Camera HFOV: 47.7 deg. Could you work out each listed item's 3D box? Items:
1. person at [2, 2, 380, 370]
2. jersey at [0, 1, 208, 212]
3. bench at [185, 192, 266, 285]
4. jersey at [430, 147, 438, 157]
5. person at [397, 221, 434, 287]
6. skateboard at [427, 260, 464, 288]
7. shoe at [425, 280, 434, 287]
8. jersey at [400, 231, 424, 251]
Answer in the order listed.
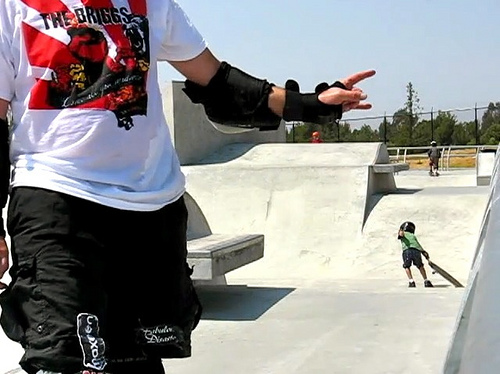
[{"bbox_3d":[-0.375,-0.011,2.091,1.044,1.308,0.404,-4,3,-36],"label":"person"},{"bbox_3d":[-0.537,-0.286,1.943,0.696,0.704,0.398,2,-8,-29],"label":"jersey"},{"bbox_3d":[-0.233,0.589,6.505,0.727,0.706,1.121,0,0,16],"label":"bench"},{"bbox_3d":[6.008,-1.158,18.456,0.230,0.327,0.351,-2,2,18],"label":"jersey"},{"bbox_3d":[2.203,0.919,7.536,0.500,0.416,1.155,-7,32,13],"label":"person"},{"bbox_3d":[2.416,1.047,7.061,0.341,0.306,0.997,-2,2,9],"label":"skateboard"},{"bbox_3d":[2.231,1.195,7.065,0.079,0.065,0.115,10,-5,-5],"label":"shoe"},{"bbox_3d":[2.094,0.692,7.315,0.212,0.245,0.251,-3,2,-2],"label":"jersey"}]
